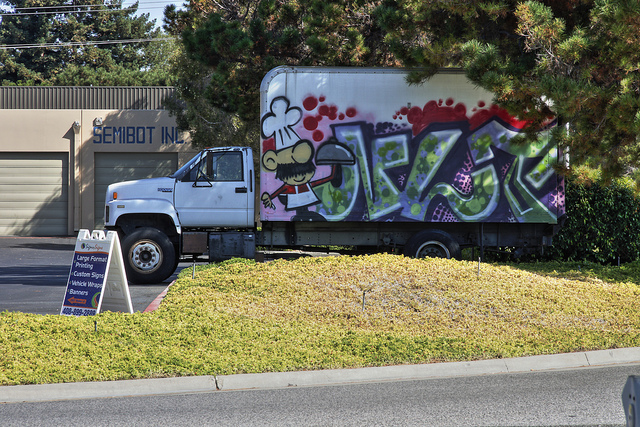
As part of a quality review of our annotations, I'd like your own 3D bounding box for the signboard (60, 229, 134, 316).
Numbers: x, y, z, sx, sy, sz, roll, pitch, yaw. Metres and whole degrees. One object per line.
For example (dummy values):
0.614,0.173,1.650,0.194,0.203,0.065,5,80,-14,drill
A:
-5.367,1.449,22.212,1.567,2.007,0.623,4,9,9,signboard
